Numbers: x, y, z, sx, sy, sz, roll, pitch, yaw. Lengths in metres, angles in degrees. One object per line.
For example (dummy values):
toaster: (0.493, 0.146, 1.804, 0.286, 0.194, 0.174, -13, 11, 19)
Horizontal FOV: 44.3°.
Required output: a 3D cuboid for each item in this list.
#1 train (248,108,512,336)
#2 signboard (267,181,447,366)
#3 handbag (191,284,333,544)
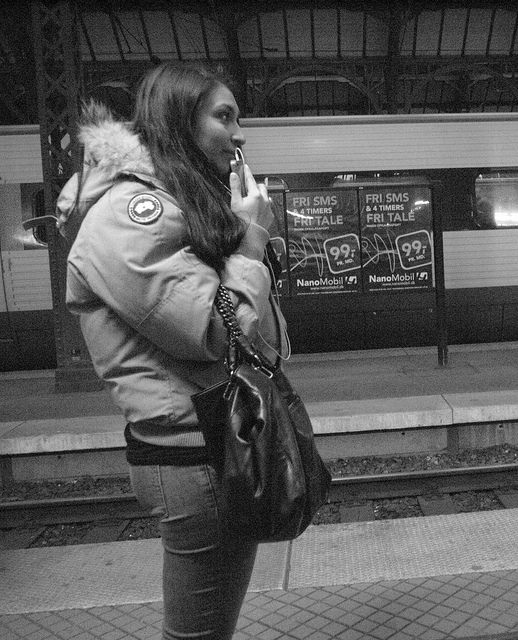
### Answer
train: (1.425, -1.191, 7.317, 2.668, 2.352, 0.956, -2, 8, -3)
signboard: (1.122, -0.619, 7.225, 2.174, 2.261, 0.233, -2, 3, 4)
handbag: (0.010, 0.187, 1.164, 0.184, 0.444, 0.303, -4, -1, 23)
